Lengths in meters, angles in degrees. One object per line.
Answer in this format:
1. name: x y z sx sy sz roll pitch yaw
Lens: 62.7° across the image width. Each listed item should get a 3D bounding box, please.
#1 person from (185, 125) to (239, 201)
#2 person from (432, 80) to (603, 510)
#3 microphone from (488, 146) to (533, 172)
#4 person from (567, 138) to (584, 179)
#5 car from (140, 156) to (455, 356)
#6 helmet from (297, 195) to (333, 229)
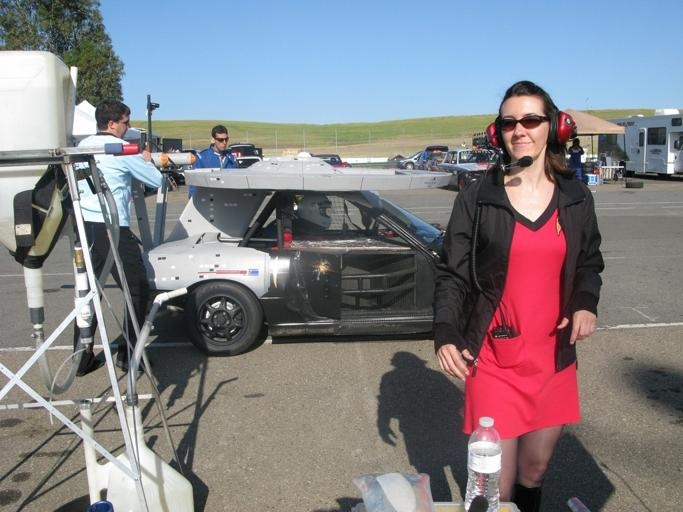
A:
1. person: -1.796 -1.332 8.026 0.878 1.086 0.332 -17 43 -36
2. person: 0.864 0.236 2.778 0.828 2.125 0.638 0 14 3
3. microphone: 0.844 -0.477 2.779 0.110 0.067 0.168 0 1 -45
4. person: 8.098 -3.238 19.299 0.509 1.659 0.395 5 36 29
5. car: -0.478 0.056 5.998 2.613 1.447 1.991 -3 17 -4
6. helmet: -0.301 -0.526 6.075 0.365 0.330 0.276 -20 27 -22
